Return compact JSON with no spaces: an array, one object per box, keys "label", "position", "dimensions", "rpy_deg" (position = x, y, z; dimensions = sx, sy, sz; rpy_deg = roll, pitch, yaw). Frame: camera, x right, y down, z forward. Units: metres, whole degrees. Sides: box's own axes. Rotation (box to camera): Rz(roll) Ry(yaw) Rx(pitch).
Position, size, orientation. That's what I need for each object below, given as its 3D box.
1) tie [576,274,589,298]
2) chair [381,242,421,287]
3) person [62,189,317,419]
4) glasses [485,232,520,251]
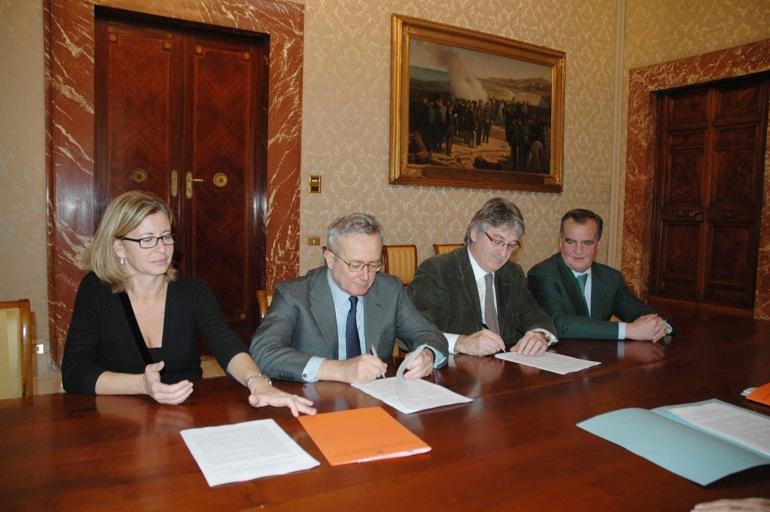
[{"label":"tie","position":[1.477,0.207,3.993],"dimensions":[0.057,0.162,0.116],"rpy_deg":[1,-8,-1]},{"label":"chair","position":[0.183,0.063,5.976],"dimensions":[0.400,0.741,0.421],"rpy_deg":[1,-2,-23]},{"label":"person","position":[-1.006,0.301,2.743],"dimensions":[1.481,1.128,0.808],"rpy_deg":[7,8,23]},{"label":"glasses","position":[0.809,-0.109,3.578],"dimensions":[0.290,0.115,0.116],"rpy_deg":[-4,6,-37]}]
